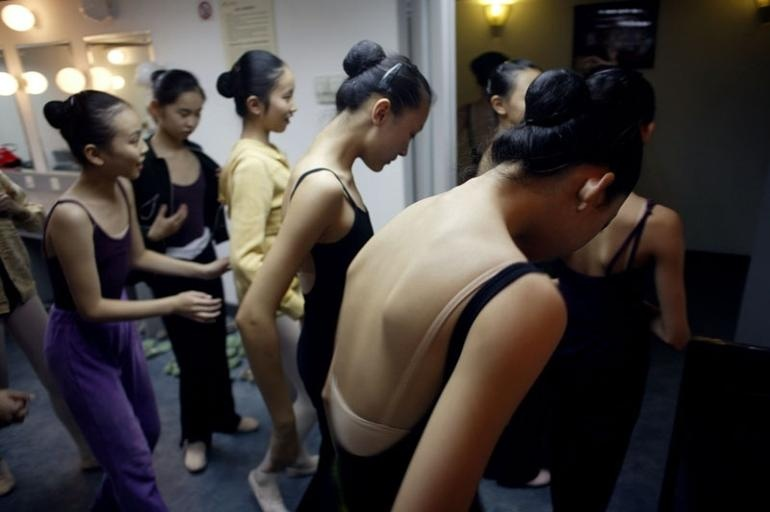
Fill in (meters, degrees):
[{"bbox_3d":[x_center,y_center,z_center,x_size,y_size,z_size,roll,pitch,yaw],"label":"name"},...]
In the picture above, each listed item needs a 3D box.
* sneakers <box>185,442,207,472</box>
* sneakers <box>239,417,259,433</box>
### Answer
[{"bbox_3d":[-1.102,1.158,3.449,0.080,0.097,0.219,-2,3,-18],"label":"sneakers"},{"bbox_3d":[-0.843,1.035,3.680,0.113,0.115,0.072,-10,34,-10],"label":"sneakers"}]
